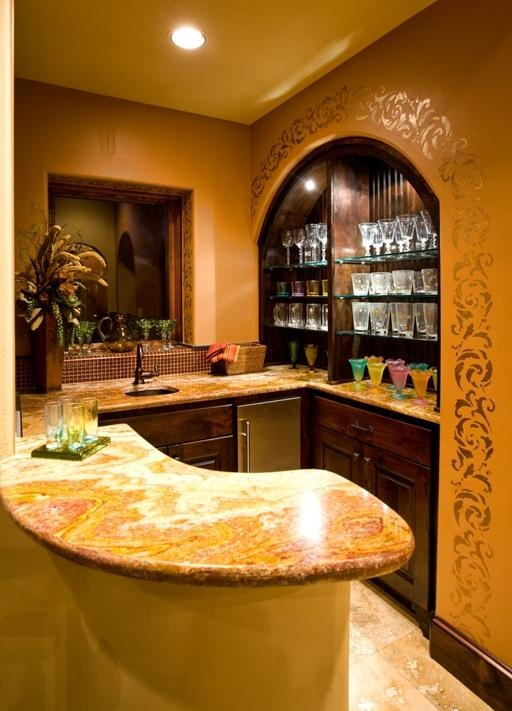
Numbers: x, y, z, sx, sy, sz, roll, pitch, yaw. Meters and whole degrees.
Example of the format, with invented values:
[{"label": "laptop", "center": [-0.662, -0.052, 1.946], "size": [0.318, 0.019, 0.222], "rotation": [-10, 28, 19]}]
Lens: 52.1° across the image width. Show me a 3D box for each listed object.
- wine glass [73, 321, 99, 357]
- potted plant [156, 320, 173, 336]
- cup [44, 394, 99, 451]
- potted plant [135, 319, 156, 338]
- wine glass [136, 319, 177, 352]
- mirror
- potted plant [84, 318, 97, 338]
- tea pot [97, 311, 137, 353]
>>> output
[{"label": "wine glass", "center": [-1.033, -0.100, 3.201], "size": [0.183, 0.225, 0.191], "rotation": [2, -2, -9]}, {"label": "potted plant", "center": [-0.603, -0.188, 3.578], "size": [0.105, 0.109, 0.105], "rotation": [-8, 11, -41]}, {"label": "cup", "center": [-0.527, 0.183, 1.523], "size": [0.138, 0.186, 0.141], "rotation": [0, 1, 0]}, {"label": "potted plant", "center": [-0.730, -0.173, 3.517], "size": [0.122, 0.146, 0.124], "rotation": [2, -8, -18]}, {"label": "wine glass", "center": [-0.666, -0.163, 3.535], "size": [0.242, 0.181, 0.208], "rotation": [-1, 7, -12]}, {"label": "mirror", "center": [-0.886, -0.590, 3.239], "size": [0.999, 1.189, 0.055], "rotation": [-2, 2, -42]}, {"label": "potted plant", "center": [-1.005, -0.180, 3.244], "size": [0.098, 0.123, 0.101], "rotation": [1, 2, -3]}, {"label": "tea pot", "center": [-0.884, -0.146, 3.346], "size": [0.261, 0.271, 0.178], "rotation": [-3, 7, -31]}]
